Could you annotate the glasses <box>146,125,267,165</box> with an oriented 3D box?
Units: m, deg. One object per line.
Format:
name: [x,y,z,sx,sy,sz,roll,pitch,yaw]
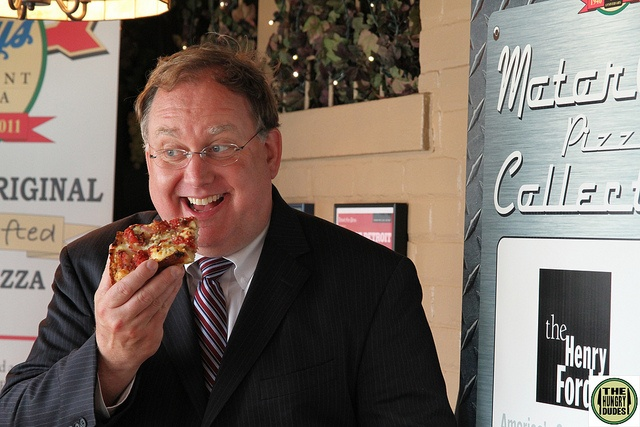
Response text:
glasses: [-0.412,-0.244,2.049,0.392,0.142,0.099,3,-1,-13]

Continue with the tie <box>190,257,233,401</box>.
tie: [-0.400,0.398,2.023,0.134,0.440,0.156,3,-1,-6]

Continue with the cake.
cake: [-0.529,0.132,1.812,0.224,0.059,0.220,-14,38,6]

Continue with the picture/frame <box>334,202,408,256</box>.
picture/frame: [0.267,0.098,3.099,0.066,0.308,0.453,-1,1,-43]
